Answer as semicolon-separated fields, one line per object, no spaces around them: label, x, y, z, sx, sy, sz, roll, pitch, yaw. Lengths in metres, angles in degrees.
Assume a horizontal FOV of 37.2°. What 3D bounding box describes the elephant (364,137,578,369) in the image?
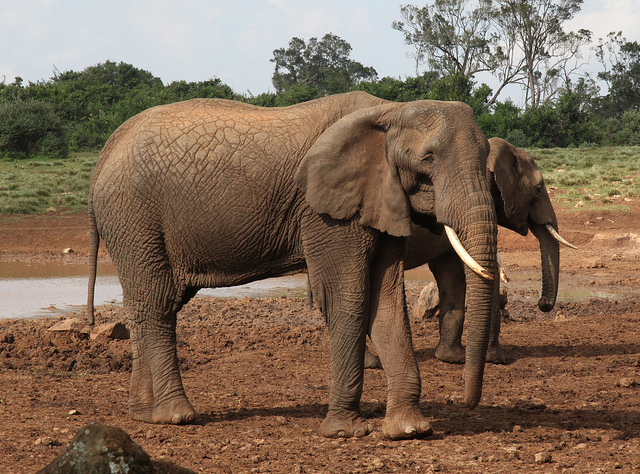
elephant;1.982;0.298;15.405;4.164;3.477;2.114;-2;-2;-15

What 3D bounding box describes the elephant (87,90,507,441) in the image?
elephant;0.079;0.013;14.410;6.614;4.929;3.064;0;0;10
